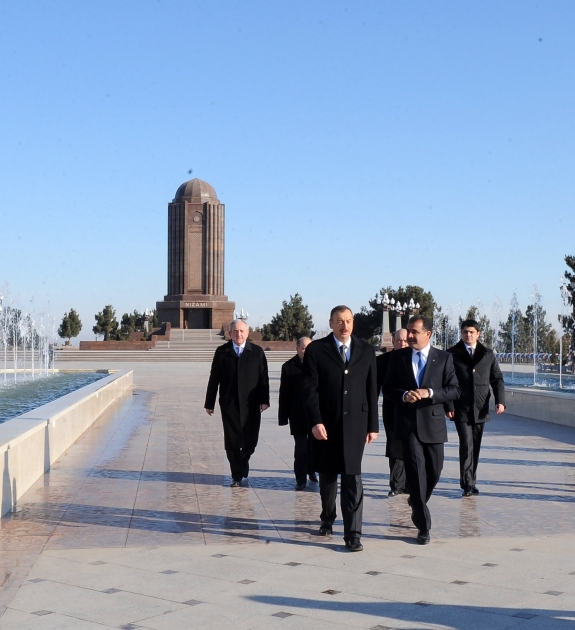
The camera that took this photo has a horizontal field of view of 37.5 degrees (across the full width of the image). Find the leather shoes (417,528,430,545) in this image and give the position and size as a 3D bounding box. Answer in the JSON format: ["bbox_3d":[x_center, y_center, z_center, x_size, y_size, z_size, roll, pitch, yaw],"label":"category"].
[{"bbox_3d":[1.036,1.700,6.509,0.109,0.093,0.212,1,-1,9],"label":"leather shoes"}]

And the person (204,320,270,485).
[{"bbox_3d":[-0.566,0.955,9.691,0.711,1.819,0.859,1,-1,-3],"label":"person"}]

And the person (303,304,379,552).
[{"bbox_3d":[0.403,0.849,6.695,0.588,1.830,0.786,1,-1,10],"label":"person"}]

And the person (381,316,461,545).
[{"bbox_3d":[1.135,0.880,6.856,0.523,1.754,0.826,1,-1,-9],"label":"person"}]

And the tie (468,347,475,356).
[{"bbox_3d":[1.961,0.386,9.077,0.050,0.089,0.019,-1,-6,8],"label":"tie"}]

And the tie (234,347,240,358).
[{"bbox_3d":[-0.575,0.420,9.741,0.063,0.107,0.022,-3,-8,-12],"label":"tie"}]
